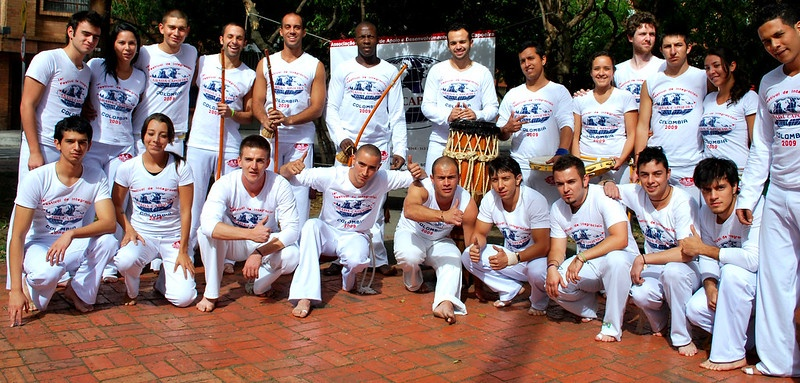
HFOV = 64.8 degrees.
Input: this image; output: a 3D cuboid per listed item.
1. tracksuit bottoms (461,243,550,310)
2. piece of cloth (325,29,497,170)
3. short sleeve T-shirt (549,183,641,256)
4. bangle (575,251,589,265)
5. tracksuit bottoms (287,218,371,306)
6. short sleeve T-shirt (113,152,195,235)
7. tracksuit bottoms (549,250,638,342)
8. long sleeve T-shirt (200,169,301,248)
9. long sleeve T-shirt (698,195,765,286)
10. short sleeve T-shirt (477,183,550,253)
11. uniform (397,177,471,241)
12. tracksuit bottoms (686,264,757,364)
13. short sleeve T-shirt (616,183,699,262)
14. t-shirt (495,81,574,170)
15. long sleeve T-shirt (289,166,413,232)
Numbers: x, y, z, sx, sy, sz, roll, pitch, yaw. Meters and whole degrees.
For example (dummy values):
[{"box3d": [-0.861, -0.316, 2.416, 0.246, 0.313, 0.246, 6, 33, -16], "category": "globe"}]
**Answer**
[{"box3d": [1.537, 1.234, 9.065, 0.573, 0.876, 0.695, -35, 36, -29], "category": "tracksuit bottoms"}, {"box3d": [0.236, -1.545, 10.504, 3.287, 2.883, 0.122, 0, 1, 10], "category": "piece of cloth"}, {"box3d": [2.680, 0.389, 8.688, 0.985, 0.751, 0.573, -13, 12, 44], "category": "short sleeve T-shirt"}, {"box3d": [2.476, 0.918, 8.588, 0.157, 0.066, 0.120, 42, -9, -21], "category": "bangle"}, {"box3d": [-0.978, 0.900, 9.355, 1.088, 0.912, 1.784, 8, 27, 6], "category": "tracksuit bottoms"}, {"box3d": [-3.544, 0.035, 9.047, 1.293, 1.087, 0.658, -1, 18, -20], "category": "short sleeve T-shirt"}, {"box3d": [2.622, 1.432, 8.564, 0.958, 1.171, 0.933, 13, -6, 45], "category": "tracksuit bottoms"}, {"box3d": [-2.163, 0.192, 9.306, 1.276, 0.915, 1.195, 7, 24, -10], "category": "long sleeve T-shirt"}, {"box3d": [4.250, 0.630, 8.437, 0.842, 1.036, 1.136, 6, 23, 45], "category": "long sleeve T-shirt"}, {"box3d": [1.680, 0.446, 9.250, 1.193, 0.859, 0.578, -3, 7, 31], "category": "short sleeve T-shirt"}, {"box3d": [0.510, 0.253, 9.199, 0.702, 0.779, 0.465, 26, 23, 18], "category": "uniform"}, {"box3d": [4.091, 1.536, 7.985, 0.827, 1.237, 0.471, 7, 11, 23], "category": "tracksuit bottoms"}, {"box3d": [3.437, 0.431, 8.430, 0.913, 0.836, 0.534, 11, 45, 42], "category": "short sleeve T-shirt"}, {"box3d": [2.117, -1.010, 9.804, 1.538, 1.548, 0.882, 1, 13, 20], "category": "t-shirt"}, {"box3d": [-0.767, 0.108, 9.471, 1.432, 0.721, 0.376, 3, 23, -15], "category": "long sleeve T-shirt"}]
